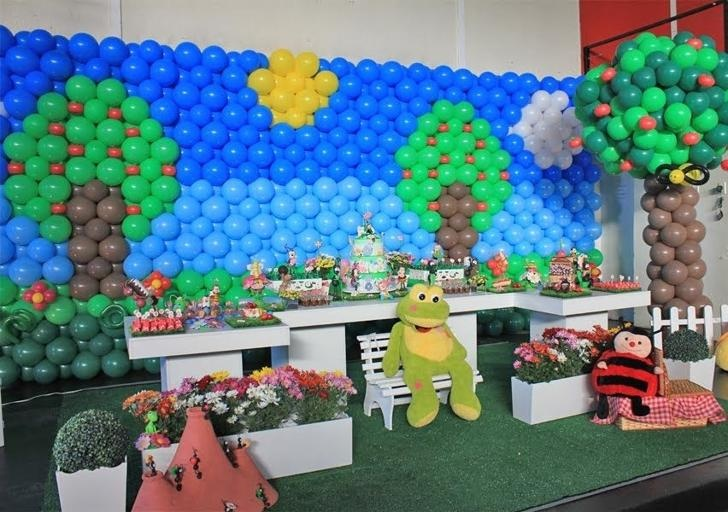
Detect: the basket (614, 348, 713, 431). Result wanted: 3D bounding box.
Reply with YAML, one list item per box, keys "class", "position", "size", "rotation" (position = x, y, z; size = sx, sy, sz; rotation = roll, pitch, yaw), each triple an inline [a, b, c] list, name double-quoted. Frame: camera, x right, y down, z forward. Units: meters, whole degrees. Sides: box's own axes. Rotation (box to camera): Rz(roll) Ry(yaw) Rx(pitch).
- class: "basket"
  position: [2.618, 1.169, 4.941]
  size: [0.807, 0.590, 0.613]
  rotation: [-1, -2, -3]

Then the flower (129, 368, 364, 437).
- class: "flower"
  position: [-0.875, 1.092, 4.129]
  size: [1.630, 0.365, 0.371]
  rotation: [-4, 12, -15]

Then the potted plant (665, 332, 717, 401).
- class: "potted plant"
  position: [3.116, 0.988, 5.292]
  size: [0.369, 0.522, 0.383]
  rotation: [-1, 9, 8]

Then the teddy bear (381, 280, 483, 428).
- class: "teddy bear"
  position: [0.617, 0.890, 4.958]
  size: [0.877, 1.157, 0.730]
  rotation: [-2, 12, -4]

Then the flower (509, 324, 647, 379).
- class: "flower"
  position: [1.787, 0.857, 4.945]
  size: [1.091, 0.411, 0.557]
  rotation: [-6, 5, -29]
